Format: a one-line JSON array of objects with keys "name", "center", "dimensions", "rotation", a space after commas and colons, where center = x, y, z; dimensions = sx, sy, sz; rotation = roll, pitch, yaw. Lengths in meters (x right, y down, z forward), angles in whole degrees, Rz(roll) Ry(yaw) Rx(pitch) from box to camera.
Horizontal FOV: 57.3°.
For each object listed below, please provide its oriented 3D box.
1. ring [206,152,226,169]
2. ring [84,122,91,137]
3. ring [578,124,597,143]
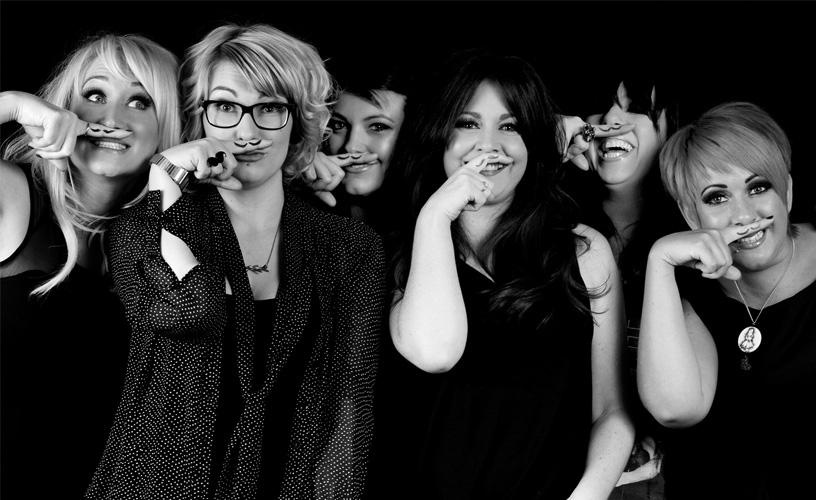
[{"name": "ring", "center": [-0.756, -0.355, 2.936], "dimensions": [0.075, 0.057, 0.036], "rotation": [-2, 27, -15]}, {"name": "ring", "center": [-1.355, -0.504, 3.126], "dimensions": [0.023, 0.054, 0.042], "rotation": [-3, 10, -11]}, {"name": "ring", "center": [0.868, -0.554, 3.567], "dimensions": [0.088, 0.086, 0.023], "rotation": [-37, 20, -16]}]
